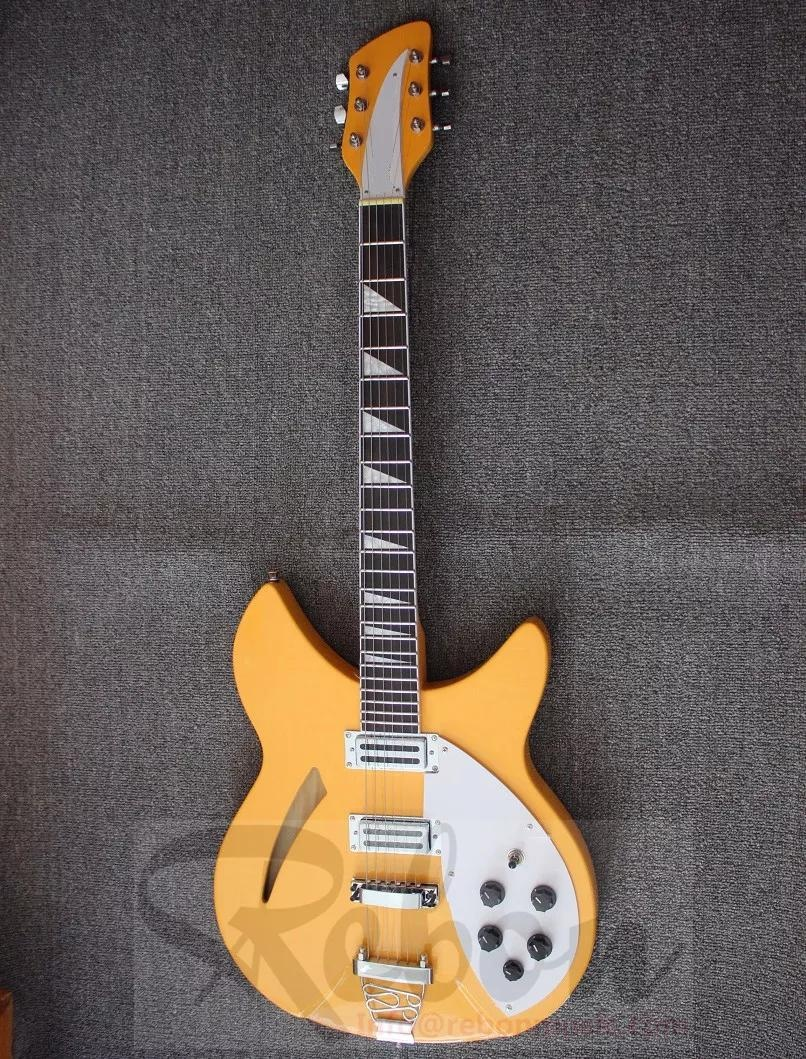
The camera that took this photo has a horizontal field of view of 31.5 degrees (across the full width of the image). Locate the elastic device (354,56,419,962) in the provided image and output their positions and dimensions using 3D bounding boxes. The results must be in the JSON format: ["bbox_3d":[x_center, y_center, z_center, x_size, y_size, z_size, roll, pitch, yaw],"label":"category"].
[{"bbox_3d":[-0.020,-0.092,1.916,0.100,0.128,1.036,2,94,11],"label":"elastic device"}]
